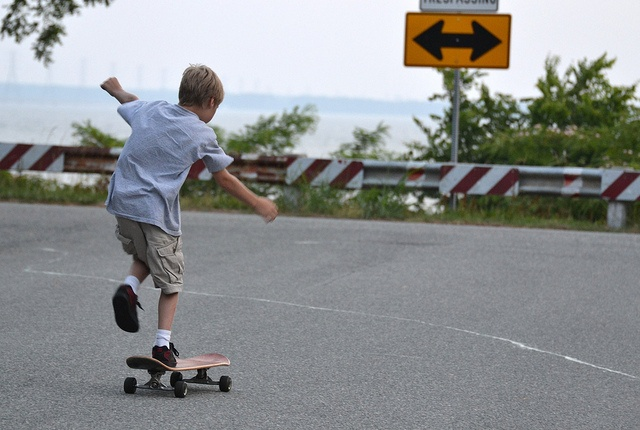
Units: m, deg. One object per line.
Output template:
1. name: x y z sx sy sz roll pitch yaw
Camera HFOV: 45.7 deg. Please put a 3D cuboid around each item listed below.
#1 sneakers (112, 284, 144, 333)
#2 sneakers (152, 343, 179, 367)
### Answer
1. sneakers: -1.620 0.793 6.350 0.227 0.410 0.221 -2 11 -15
2. sneakers: -1.307 1.185 6.390 0.212 0.163 0.241 -3 12 -18
